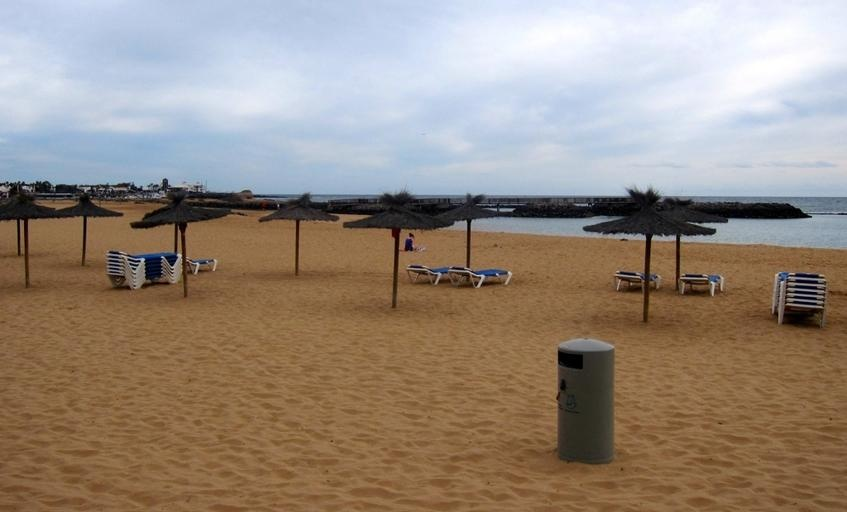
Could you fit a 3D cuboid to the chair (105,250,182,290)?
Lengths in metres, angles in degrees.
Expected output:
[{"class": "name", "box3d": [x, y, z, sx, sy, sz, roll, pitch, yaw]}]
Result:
[{"class": "chair", "box3d": [-7.071, 0.338, 17.727, 1.330, 0.717, 1.542, 3, 4, 40]}]

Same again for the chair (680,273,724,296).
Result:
[{"class": "chair", "box3d": [7.050, 0.680, 17.467, 0.743, 0.294, 1.165, 2, 6, 33]}]

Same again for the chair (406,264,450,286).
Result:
[{"class": "chair", "box3d": [0.123, 0.489, 19.319, 1.105, 0.477, 1.697, -1, 2, -1]}]

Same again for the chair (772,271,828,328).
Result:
[{"class": "chair", "box3d": [7.794, 0.870, 14.400, 1.009, 1.039, 0.993, 0, 4, 20]}]

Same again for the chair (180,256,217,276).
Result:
[{"class": "chair", "box3d": [-6.409, 0.292, 19.763, 0.931, 0.409, 1.286, 0, -2, -14]}]

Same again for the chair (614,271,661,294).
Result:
[{"class": "chair", "box3d": [5.513, 0.616, 17.894, 1.175, 0.468, 1.635, 0, 3, 15]}]

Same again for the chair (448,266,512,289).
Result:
[{"class": "chair", "box3d": [1.675, 0.548, 18.783, 1.421, 0.317, 0.722, -3, 5, -25]}]
